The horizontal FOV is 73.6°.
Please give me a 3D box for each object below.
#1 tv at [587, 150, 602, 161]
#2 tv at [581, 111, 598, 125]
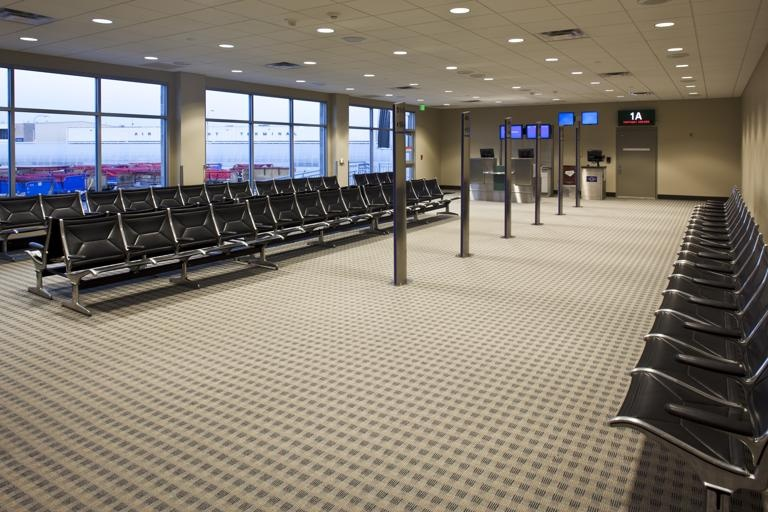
[{"bbox_3d":[8.494,-3.986,20.516,0.645,0.409,0.262,3,43,26],"label":"tv"},{"bbox_3d":[8.313,-5.537,20.596,0.842,0.461,0.381,0,-2,20],"label":"tv"}]
